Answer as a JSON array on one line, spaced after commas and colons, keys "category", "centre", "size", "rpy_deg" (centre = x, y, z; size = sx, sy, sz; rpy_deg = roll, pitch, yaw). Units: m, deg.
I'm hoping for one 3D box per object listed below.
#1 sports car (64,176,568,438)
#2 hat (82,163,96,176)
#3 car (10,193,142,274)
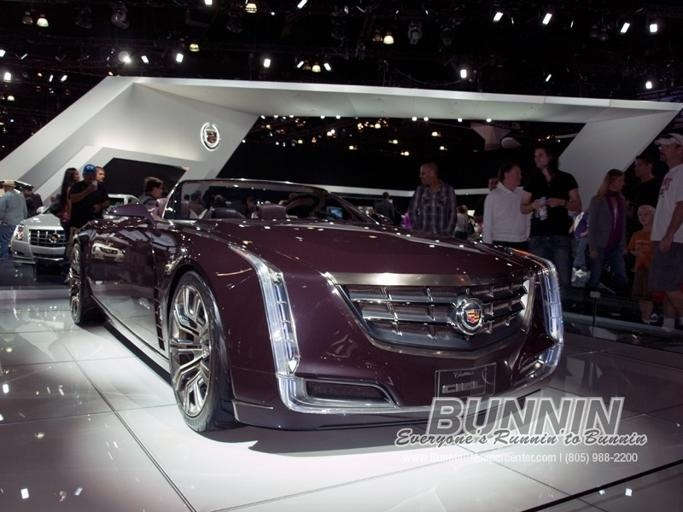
[{"category": "sports car", "centre": [-0.635, 0.283, 3.042], "size": [1.501, 0.972, 3.091], "rpy_deg": [1, -1, -29]}, {"category": "hat", "centre": [-3.757, -1.285, 6.639], "size": [0.134, 0.162, 0.259], "rpy_deg": [-2, 7, -38]}, {"category": "car", "centre": [-5.464, -0.217, 8.791], "size": [1.589, 1.341, 3.799], "rpy_deg": [0, 0, -25]}]
